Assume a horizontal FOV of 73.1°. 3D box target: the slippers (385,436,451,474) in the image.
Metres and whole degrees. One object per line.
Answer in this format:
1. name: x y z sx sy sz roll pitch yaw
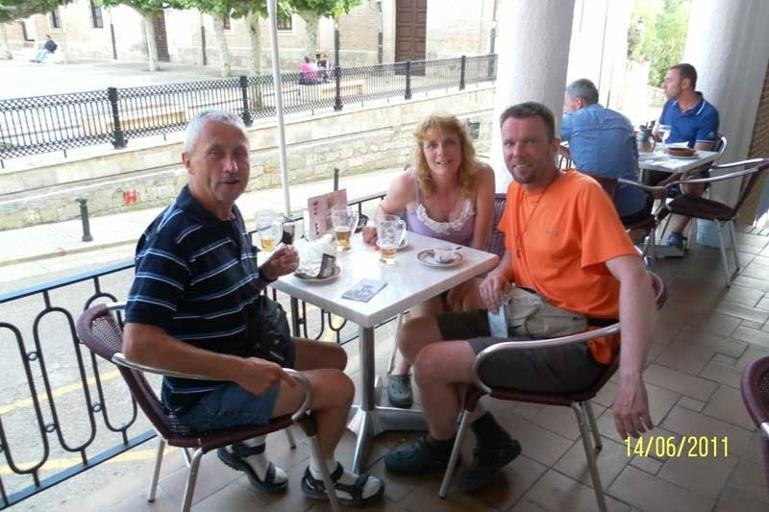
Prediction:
1. slippers: 0.203 1.150 3.059 0.430 0.176 0.182 1 30 0

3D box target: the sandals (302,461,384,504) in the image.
1. sandals: -0.216 1.264 2.940 0.459 0.199 0.199 1 22 9

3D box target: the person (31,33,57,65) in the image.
1. person: -15.832 -9.662 24.060 1.141 1.224 2.342 -16 24 -25

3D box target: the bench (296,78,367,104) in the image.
1. bench: -1.544 -5.020 15.736 2.209 0.558 0.474 -21 27 -37

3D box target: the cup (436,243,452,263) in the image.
1. cup: 0.349 -0.006 3.003 0.075 0.065 0.096 6 10 27

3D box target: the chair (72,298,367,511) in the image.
1. chair: -0.886 0.741 2.966 1.252 1.406 1.170 -14 27 -27

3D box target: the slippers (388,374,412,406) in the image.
1. slippers: 0.111 0.895 3.490 0.135 0.134 0.221 0 13 1

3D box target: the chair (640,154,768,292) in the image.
1. chair: 3.188 -0.319 5.183 0.962 1.207 0.941 -29 39 -34

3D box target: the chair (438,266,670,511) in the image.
1. chair: 0.926 0.667 3.338 1.352 1.554 1.378 8 21 23
